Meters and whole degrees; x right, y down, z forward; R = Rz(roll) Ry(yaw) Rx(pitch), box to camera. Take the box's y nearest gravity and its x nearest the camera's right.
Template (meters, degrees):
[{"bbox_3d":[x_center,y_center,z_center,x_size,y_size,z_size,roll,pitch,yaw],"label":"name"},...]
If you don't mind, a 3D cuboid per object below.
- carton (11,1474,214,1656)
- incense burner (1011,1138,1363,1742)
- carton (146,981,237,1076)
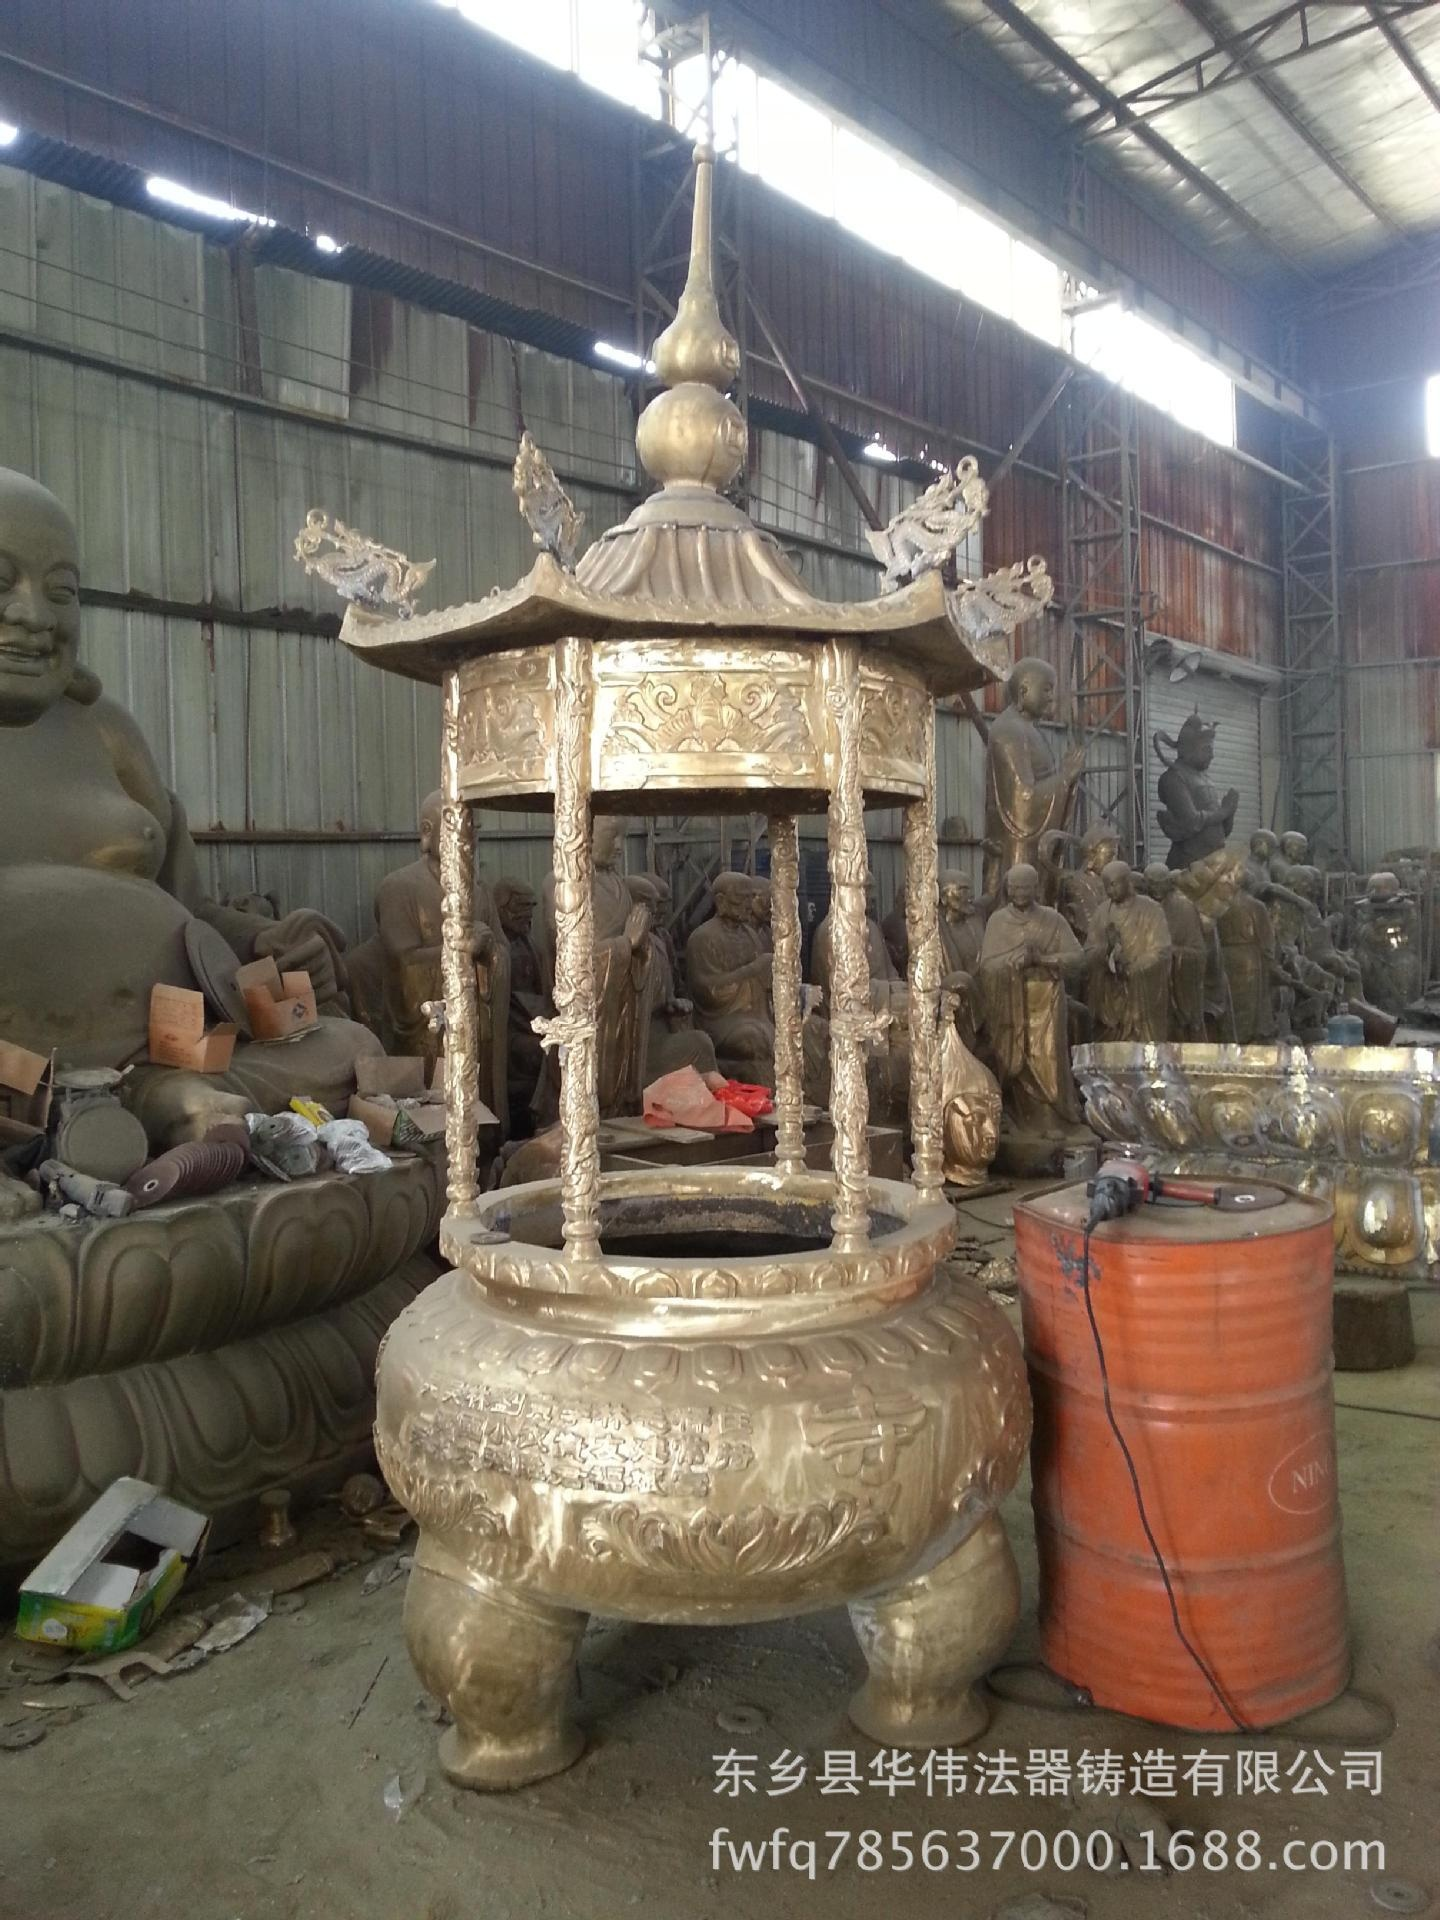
[{"bbox_3d":[-0.915,0.894,2.088,0.200,0.197,0.299,1,4,3],"label":"carton"},{"bbox_3d":[0.568,0.586,1.901,0.490,0.948,0.479,-3,2,-42],"label":"incense burner"},{"bbox_3d":[-1.062,0.136,2.837,0.145,0.222,0.133,1,0,8],"label":"carton"}]
